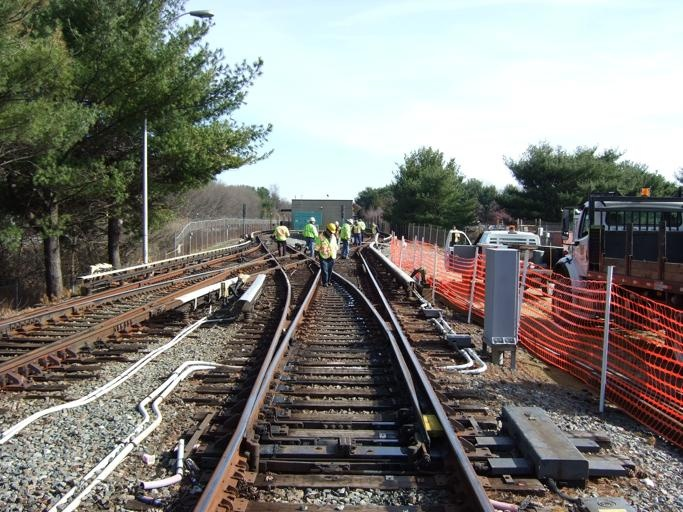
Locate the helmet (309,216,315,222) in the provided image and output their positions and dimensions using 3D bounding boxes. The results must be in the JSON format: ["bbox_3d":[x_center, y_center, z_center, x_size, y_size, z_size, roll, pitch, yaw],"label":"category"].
[{"bbox_3d":[-1.176,-1.516,21.469,0.271,0.146,0.391,1,0,-4],"label":"helmet"}]

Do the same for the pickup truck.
[{"bbox_3d":[5.786,0.492,18.870,2.514,2.118,4.275,1,8,-1],"label":"pickup truck"}]

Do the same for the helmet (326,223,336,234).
[{"bbox_3d":[-0.299,-0.804,15.382,0.221,0.296,0.656,2,7,-5],"label":"helmet"}]
